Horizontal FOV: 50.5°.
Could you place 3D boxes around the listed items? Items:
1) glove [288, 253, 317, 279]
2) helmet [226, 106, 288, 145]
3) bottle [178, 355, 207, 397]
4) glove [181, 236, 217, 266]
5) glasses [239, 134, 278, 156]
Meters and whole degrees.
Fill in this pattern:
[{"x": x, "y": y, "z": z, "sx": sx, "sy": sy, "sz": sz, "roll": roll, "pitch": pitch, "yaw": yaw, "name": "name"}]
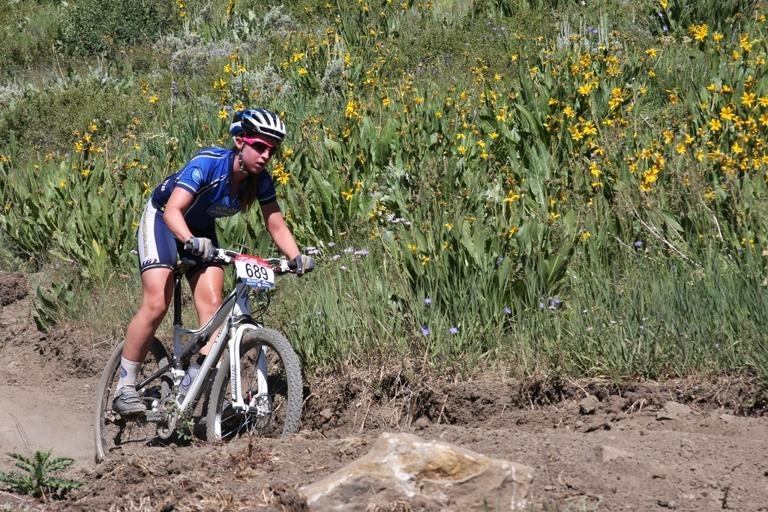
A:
[{"x": -0.734, "y": 0.074, "z": 7.283, "sx": 0.226, "sy": 0.180, "sz": 0.136, "roll": 0, "pitch": 2, "yaw": 42, "name": "glove"}, {"x": -1.195, "y": -1.220, "z": 7.339, "sx": 0.474, "sy": 0.244, "sz": 0.341, "roll": 7, "pitch": 9, "yaw": 34, "name": "helmet"}, {"x": -1.769, "y": 1.085, "z": 7.481, "sx": 0.089, "sy": 0.367, "sz": 0.215, "roll": 29, "pitch": 1, "yaw": -19, "name": "bottle"}, {"x": -1.614, "y": -0.071, "z": 7.080, "sx": 0.227, "sy": 0.182, "sz": 0.369, "roll": 37, "pitch": -26, "yaw": -18, "name": "glove"}, {"x": -1.116, "y": -1.001, "z": 7.197, "sx": 0.185, "sy": 0.069, "sz": 0.194, "roll": 22, "pitch": 9, "yaw": -46, "name": "glasses"}]
